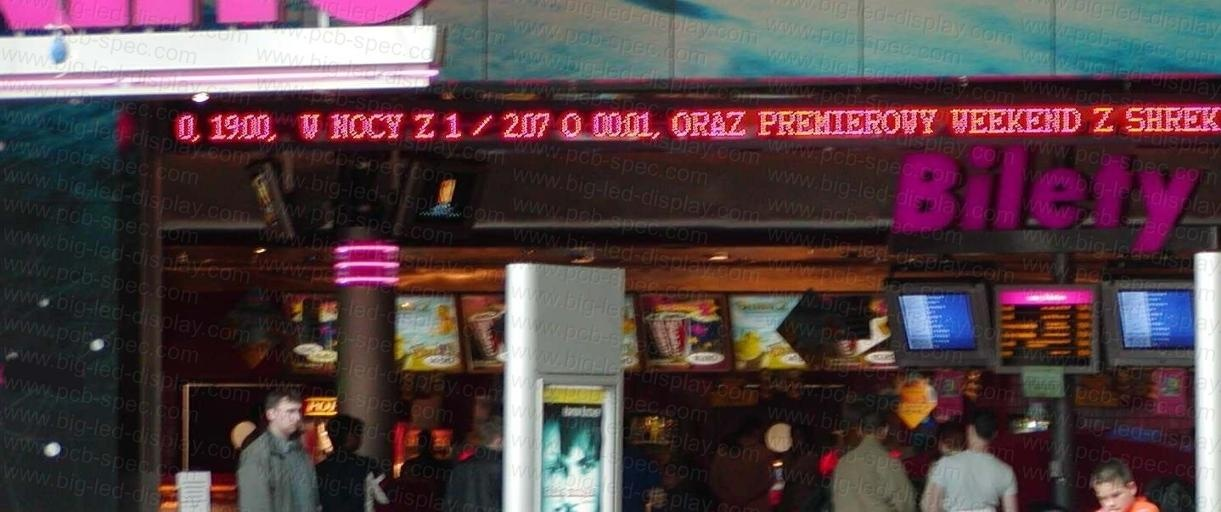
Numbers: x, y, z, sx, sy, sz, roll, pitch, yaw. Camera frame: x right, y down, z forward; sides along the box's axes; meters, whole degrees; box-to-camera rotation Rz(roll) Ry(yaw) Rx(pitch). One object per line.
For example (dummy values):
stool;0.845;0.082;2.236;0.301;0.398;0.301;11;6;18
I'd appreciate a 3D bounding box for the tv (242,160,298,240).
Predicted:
tv;-4.657;-0.776;20.540;0.443;1.109;0.384;7;13;30

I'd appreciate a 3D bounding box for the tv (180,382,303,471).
tv;-5.048;2.346;20.370;1.860;0.953;0.214;1;-14;-1

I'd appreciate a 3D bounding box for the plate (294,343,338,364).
plate;-4.252;1.401;21.695;0.433;0.085;0.412;4;11;-4

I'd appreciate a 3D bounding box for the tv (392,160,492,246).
tv;-2.332;-0.773;20.549;1.440;1.035;0.274;8;20;3

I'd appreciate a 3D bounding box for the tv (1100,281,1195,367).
tv;7.746;0.848;20.418;0.942;1.000;1.556;-3;-1;-36
